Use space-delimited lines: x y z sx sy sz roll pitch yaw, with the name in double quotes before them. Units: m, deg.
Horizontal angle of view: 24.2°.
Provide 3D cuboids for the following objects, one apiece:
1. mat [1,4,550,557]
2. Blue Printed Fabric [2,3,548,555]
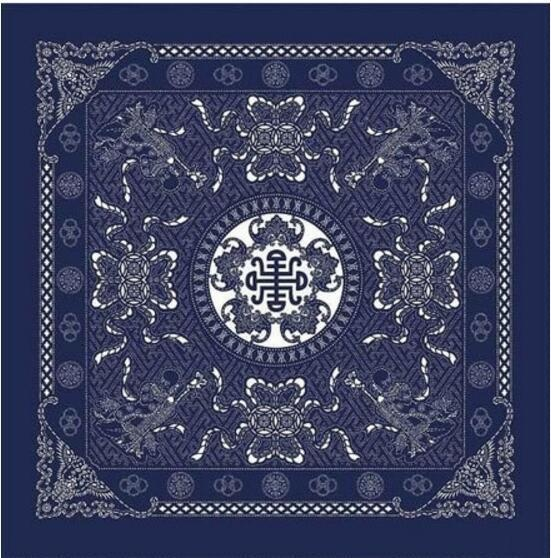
"mat" 0.004 0.008 4.186 1.668 1.125 1.603 5 60 -13
"Blue Printed Fabric" 0.005 0.008 4.186 1.668 1.123 1.603 5 60 -13
